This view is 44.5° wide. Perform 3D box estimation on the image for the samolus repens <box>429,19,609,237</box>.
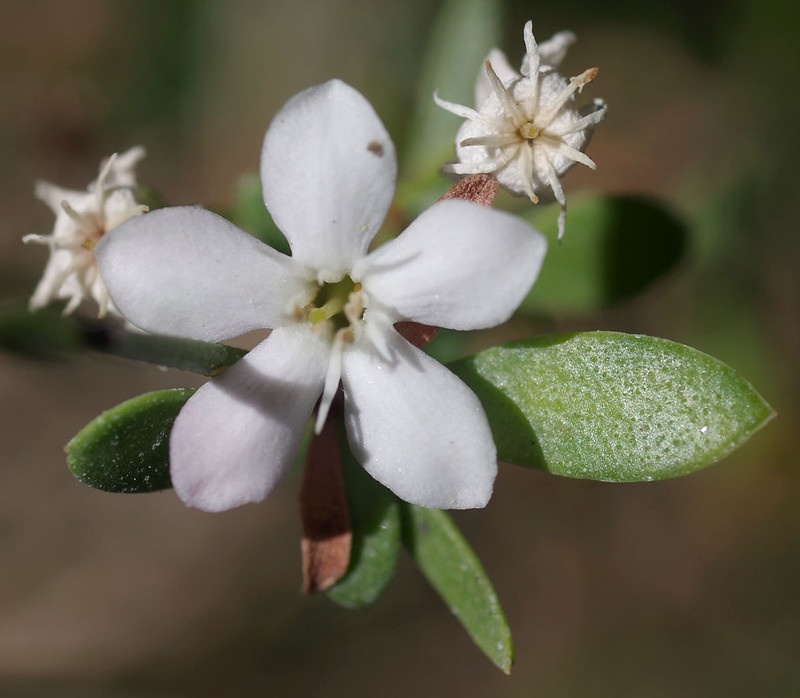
[{"bbox_3d":[0.181,-0.263,1.239,0.177,0.072,0.191,31,44,16],"label":"samolus repens"}]
